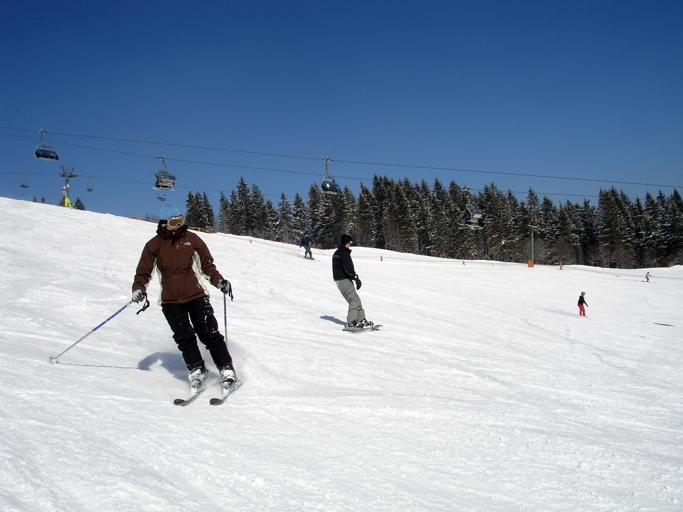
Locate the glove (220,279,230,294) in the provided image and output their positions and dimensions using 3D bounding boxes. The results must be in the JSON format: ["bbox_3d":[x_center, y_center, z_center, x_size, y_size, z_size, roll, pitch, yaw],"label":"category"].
[{"bbox_3d":[-1.516,0.435,9.862,0.138,0.168,0.178,0,4,-6],"label":"glove"}]

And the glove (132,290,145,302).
[{"bbox_3d":[-2.595,0.548,9.544,0.137,0.172,0.082,6,25,-18],"label":"glove"}]

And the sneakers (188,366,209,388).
[{"bbox_3d":[-1.833,1.577,9.522,0.192,0.250,0.096,4,-6,27],"label":"sneakers"}]

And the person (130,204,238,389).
[{"bbox_3d":[-1.987,0.604,9.599,1.379,2.195,0.614,5,3,-8],"label":"person"}]

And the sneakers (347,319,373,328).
[{"bbox_3d":[0.319,1.271,13.624,0.108,0.153,0.503,-8,-6,34],"label":"sneakers"}]
